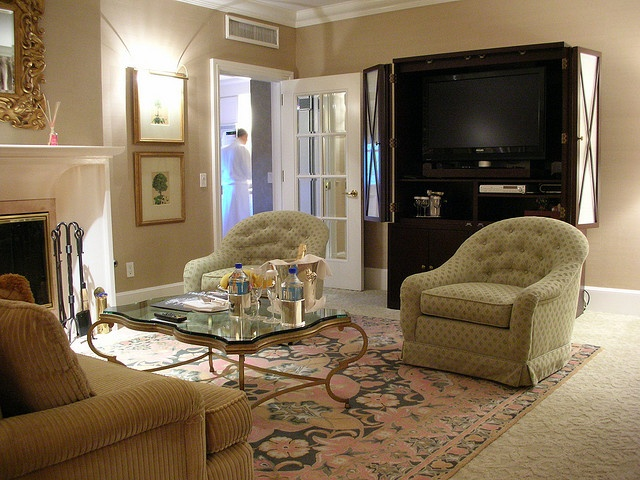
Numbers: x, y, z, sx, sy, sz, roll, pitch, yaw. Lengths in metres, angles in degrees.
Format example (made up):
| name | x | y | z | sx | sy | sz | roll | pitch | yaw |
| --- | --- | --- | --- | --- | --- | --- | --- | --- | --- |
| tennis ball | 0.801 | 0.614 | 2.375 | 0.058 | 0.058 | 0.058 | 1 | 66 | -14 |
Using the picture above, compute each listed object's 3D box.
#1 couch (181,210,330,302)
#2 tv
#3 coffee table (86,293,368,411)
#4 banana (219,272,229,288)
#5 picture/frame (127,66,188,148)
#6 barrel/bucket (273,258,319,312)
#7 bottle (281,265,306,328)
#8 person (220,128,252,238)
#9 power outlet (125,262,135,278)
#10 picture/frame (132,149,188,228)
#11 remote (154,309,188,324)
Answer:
| name | x | y | z | sx | sy | sz | roll | pitch | yaw |
| --- | --- | --- | --- | --- | --- | --- | --- | --- | --- |
| couch | -0.456 | 0.027 | 4.264 | 0.898 | 0.868 | 0.838 | 2 | 0 | 25 |
| tv | 1.603 | -1.209 | 5.001 | 1.244 | 0.893 | 0.086 | 7 | 20 | 38 |
| coffee table | -0.621 | 0.775 | 3.376 | 1.217 | 0.573 | 1.608 | 1 | -3 | -39 |
| banana | -0.650 | 0.271 | 3.451 | 0.027 | 0.091 | 0.089 | 32 | -41 | -31 |
| picture/frame | -1.682 | -1.371 | 5.161 | 0.074 | 0.997 | 0.843 | 8 | 10 | 43 |
| barrel/bucket | -0.122 | 0.274 | 3.087 | 0.293 | 0.316 | 0.315 | -1 | -4 | 0 |
| bottle | -0.155 | 0.320 | 2.851 | 0.142 | 0.313 | 0.181 | -4 | 8 | -23 |
| person | -1.292 | -0.780 | 7.939 | 0.537 | 1.772 | 0.508 | 11 | 18 | 24 |
| power outlet | -1.919 | 0.302 | 5.096 | 0.017 | 0.197 | 0.142 | 7 | 9 | 32 |
| picture/frame | -1.687 | -0.550 | 5.244 | 0.064 | 0.947 | 0.734 | 8 | 13 | 41 |
| remote | -0.874 | 0.448 | 2.944 | 0.143 | 0.044 | 0.079 | 5 | 11 | 33 |
